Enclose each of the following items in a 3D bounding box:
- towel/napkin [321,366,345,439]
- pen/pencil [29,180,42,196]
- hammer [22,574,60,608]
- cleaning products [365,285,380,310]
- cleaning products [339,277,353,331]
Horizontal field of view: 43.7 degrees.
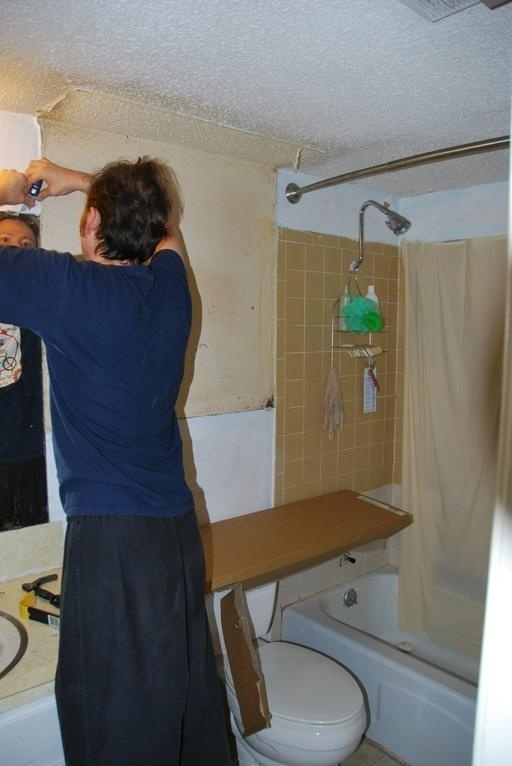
[{"bbox_3d":[0.329,0.088,2.662,0.060,0.304,0.163,7,9,30],"label":"towel/napkin"},{"bbox_3d":[-0.564,-0.505,1.656,0.016,0.040,0.028,12,3,-23],"label":"pen/pencil"},{"bbox_3d":[-0.547,0.544,1.682,0.071,0.022,0.071,17,18,32],"label":"hammer"},{"bbox_3d":[0.492,-0.365,2.727,0.054,0.101,0.095,4,8,7],"label":"cleaning products"},{"bbox_3d":[0.372,-0.315,2.679,0.040,0.191,0.059,6,9,20],"label":"cleaning products"}]
